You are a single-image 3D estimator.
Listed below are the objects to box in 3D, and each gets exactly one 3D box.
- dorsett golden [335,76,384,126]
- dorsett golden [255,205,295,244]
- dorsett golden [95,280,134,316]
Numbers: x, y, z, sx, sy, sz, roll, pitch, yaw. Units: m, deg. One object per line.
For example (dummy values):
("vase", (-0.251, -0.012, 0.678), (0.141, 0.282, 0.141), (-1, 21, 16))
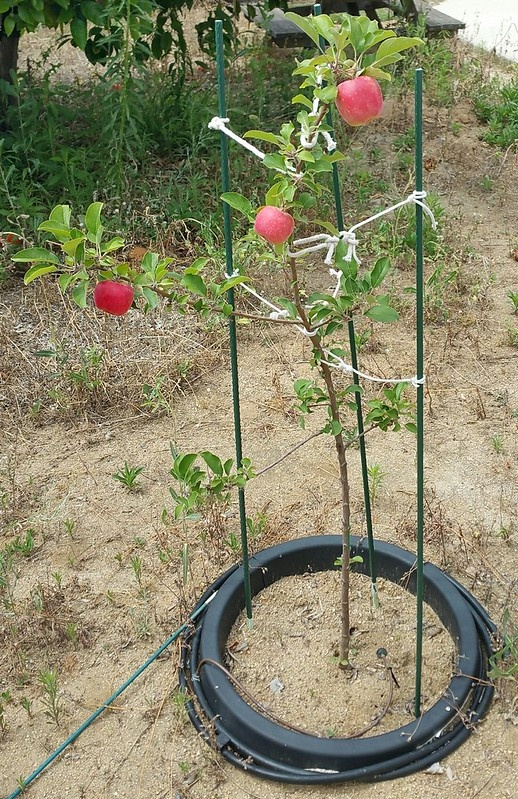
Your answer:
("dorsett golden", (0.166, -0.499, 1.306), (0.071, 0.075, 0.147), (2, 20, 6))
("dorsett golden", (0.021, -0.285, 1.336), (0.059, 0.060, 0.062), (17, -6, -14))
("dorsett golden", (-0.266, -0.184, 1.463), (0.071, 0.064, 0.067), (-9, 31, -40))
